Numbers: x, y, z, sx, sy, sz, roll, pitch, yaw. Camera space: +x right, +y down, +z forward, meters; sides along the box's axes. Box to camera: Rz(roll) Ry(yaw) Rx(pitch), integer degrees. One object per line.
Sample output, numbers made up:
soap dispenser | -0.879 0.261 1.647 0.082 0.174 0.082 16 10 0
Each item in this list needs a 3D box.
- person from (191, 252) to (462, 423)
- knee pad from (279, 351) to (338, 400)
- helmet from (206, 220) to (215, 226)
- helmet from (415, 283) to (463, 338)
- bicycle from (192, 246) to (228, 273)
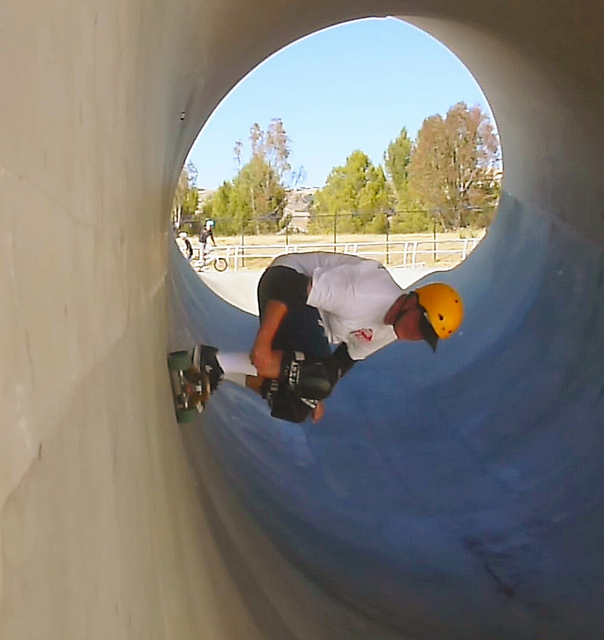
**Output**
person | 0.152 0.156 3.440 1.571 0.960 0.890 -5 -18 15
knee pad | 0.031 0.296 3.012 0.217 0.142 0.326 27 2 5
helmet | -1.725 -1.854 10.374 0.155 0.167 0.147 0 -1 2
helmet | 0.657 -0.076 2.805 0.209 0.203 0.266 -6 37 -19
bicycle | -1.973 -1.315 11.675 0.671 0.518 2.005 4 12 -12
